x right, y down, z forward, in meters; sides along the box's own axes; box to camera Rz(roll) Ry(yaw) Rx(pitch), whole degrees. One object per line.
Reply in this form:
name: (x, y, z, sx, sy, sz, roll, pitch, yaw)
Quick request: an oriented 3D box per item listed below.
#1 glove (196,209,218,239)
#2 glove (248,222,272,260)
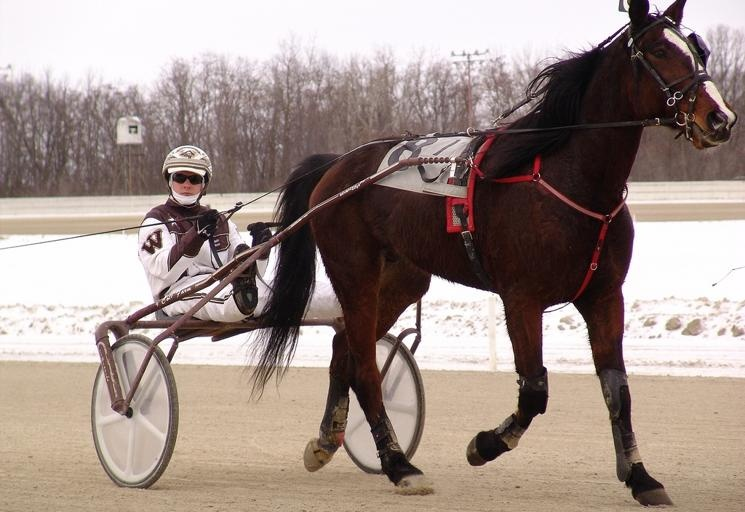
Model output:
glove: (-1.423, -0.282, 10.085, 0.174, 0.225, 0.086, 15, 4, -41)
glove: (-1.009, -0.140, 10.715, 0.117, 0.340, 0.249, 6, -7, -43)
